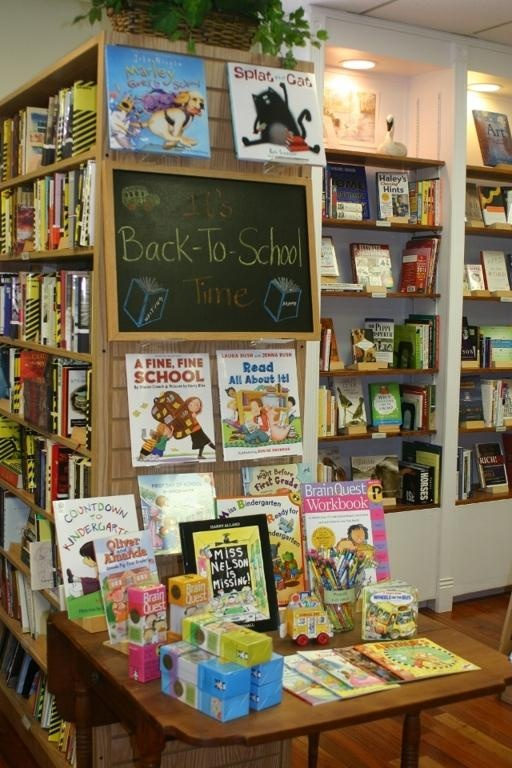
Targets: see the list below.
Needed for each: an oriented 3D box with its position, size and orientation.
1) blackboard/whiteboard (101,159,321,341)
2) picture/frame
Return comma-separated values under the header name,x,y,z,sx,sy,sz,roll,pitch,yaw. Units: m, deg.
name,x,y,z,sx,sy,sz,roll,pitch,yaw
blackboard/whiteboard,-0.144,-0.363,1.622,0.522,0.369,0.021,0,-3,-33
picture/frame,-0.060,0.418,1.310,0.243,0.303,0.017,6,-27,-39
